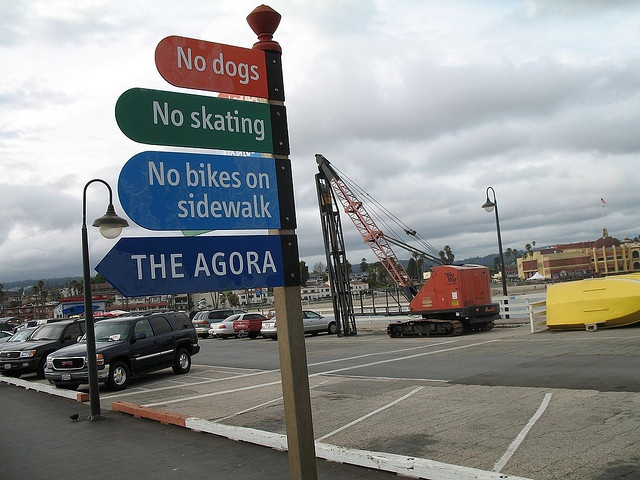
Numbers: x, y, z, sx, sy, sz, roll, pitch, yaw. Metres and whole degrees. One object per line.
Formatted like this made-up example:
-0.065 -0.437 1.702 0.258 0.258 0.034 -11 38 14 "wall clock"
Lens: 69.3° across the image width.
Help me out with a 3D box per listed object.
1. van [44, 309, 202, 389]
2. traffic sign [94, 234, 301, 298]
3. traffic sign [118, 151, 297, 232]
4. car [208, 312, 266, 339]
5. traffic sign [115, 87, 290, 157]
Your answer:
-6.245 3.486 15.395 2.456 1.810 4.423 -9 -12 31 "van"
-1.025 0.217 4.265 1.890 0.547 0.035 -1 -10 -42 "traffic sign"
-1.059 -0.461 4.329 1.647 0.726 0.029 -2 8 -41 "traffic sign"
-6.002 6.380 33.306 2.040 1.263 4.409 -2 0 16 "car"
-1.075 -1.077 4.208 1.750 0.558 0.033 5 -12 -25 "traffic sign"
